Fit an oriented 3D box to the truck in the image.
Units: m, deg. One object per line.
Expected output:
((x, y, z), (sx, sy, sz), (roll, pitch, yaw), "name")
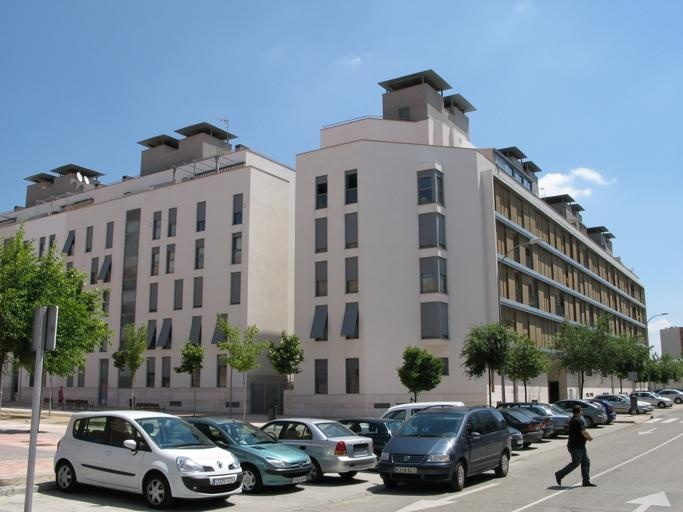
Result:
((2.576, 5.970, 25.547), (3.497, 1.542, 2.075), (-1, -9, 8), "truck")

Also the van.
((3.391, 5.934, 20.665), (2.096, 1.689, 3.805), (-12, -20, 32), "van")

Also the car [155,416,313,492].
((-3.059, 5.941, 20.249), (3.880, 1.409, 1.923), (-7, -12, 34), "car")

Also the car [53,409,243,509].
((-5.299, 5.438, 17.973), (4.923, 2.542, 1.523), (-7, -17, 17), "car")
